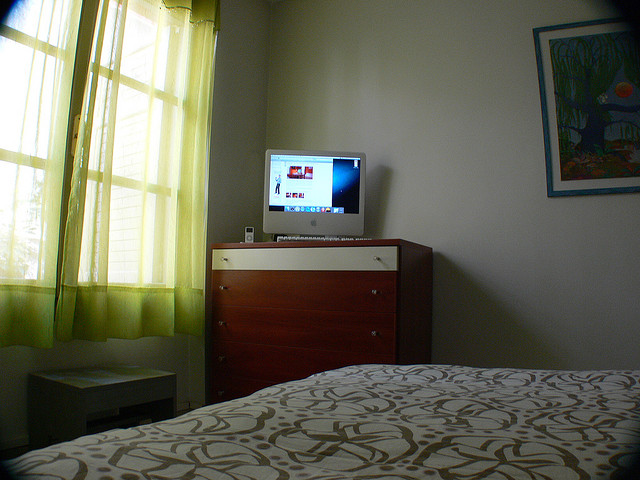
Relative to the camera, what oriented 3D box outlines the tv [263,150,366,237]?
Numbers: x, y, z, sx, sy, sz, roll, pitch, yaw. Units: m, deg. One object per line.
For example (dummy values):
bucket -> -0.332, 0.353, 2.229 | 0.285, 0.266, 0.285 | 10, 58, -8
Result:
tv -> -0.020, -0.291, 2.953 | 0.500, 0.442, 0.050 | 4, -1, 6
